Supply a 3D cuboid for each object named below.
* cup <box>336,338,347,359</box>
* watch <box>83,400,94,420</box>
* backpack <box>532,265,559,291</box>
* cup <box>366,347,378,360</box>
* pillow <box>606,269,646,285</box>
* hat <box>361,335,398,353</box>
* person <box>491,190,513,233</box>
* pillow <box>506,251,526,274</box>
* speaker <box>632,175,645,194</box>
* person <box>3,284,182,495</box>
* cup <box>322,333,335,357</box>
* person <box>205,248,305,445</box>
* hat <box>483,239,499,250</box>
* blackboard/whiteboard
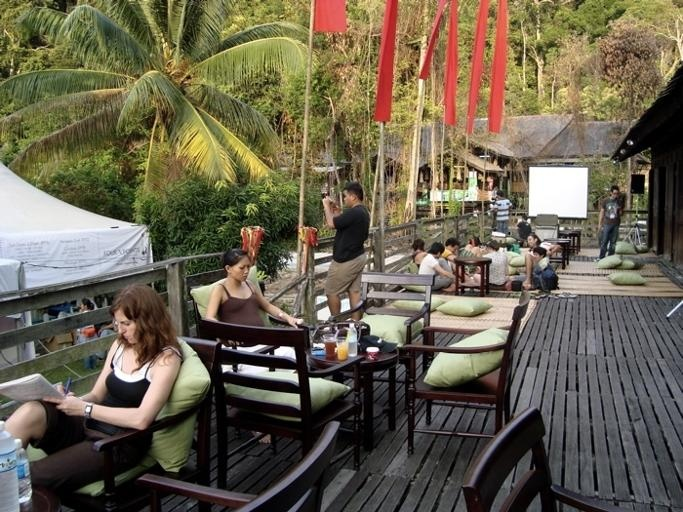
[{"bbox_3d":[0.009,0.674,3.751,0.099,0.172,0.103,0,-1,0],"label":"cup"},{"bbox_3d":[-1.267,0.775,2.635,0.045,0.079,0.075,11,-31,-3],"label":"watch"},{"bbox_3d":[3.996,0.454,10.153,0.462,0.201,0.386,19,48,27],"label":"backpack"},{"bbox_3d":[0.235,0.729,3.874,0.067,0.073,0.073,1,-2,0],"label":"cup"},{"bbox_3d":[6.006,0.476,10.848,0.665,0.255,0.310,4,8,24],"label":"pillow"},{"bbox_3d":[0.287,0.683,4.034,0.201,0.057,0.134,5,13,13],"label":"hat"},{"bbox_3d":[5.817,-1.514,18.708,0.626,1.766,0.540,-5,25,7],"label":"person"},{"bbox_3d":[4.141,0.165,12.311,0.603,0.256,0.656,1,9,16],"label":"pillow"},{"bbox_3d":[10.568,-2.581,18.463,0.380,0.623,0.855,4,8,28],"label":"speaker"},{"bbox_3d":[-1.224,0.638,2.636,0.606,0.926,0.756,5,8,31],"label":"person"},{"bbox_3d":[-0.080,0.668,3.854,0.110,0.203,0.126,-1,-2,1],"label":"cup"},{"bbox_3d":[-0.762,0.736,4.419,0.717,1.580,0.723,-1,4,41],"label":"person"},{"bbox_3d":[3.105,-0.217,10.749,0.201,0.287,0.255,9,-6,45],"label":"hat"},{"bbox_3d":[8.128,-2.391,19.398,2.004,2.017,0.287,2,7,21],"label":"blackboard/whiteboard"}]
